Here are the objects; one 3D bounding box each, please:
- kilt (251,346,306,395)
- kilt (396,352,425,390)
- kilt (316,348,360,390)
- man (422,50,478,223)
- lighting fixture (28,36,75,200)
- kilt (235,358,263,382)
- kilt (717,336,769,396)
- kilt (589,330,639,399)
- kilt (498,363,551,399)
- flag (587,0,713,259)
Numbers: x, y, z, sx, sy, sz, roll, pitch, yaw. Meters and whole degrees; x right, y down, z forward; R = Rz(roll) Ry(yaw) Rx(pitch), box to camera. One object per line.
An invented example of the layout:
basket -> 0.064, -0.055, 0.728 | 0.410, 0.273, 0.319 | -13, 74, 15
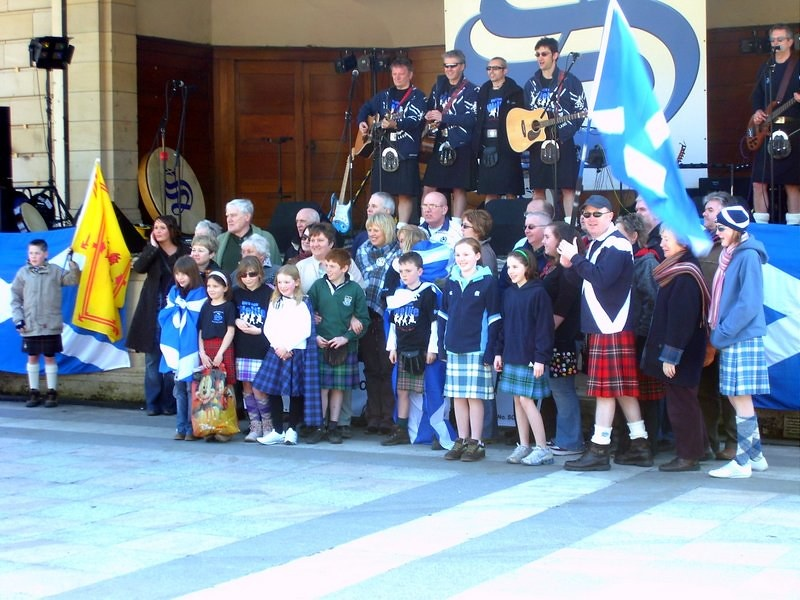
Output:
kilt -> -0.976, 0.517, 8.362 | 0.341, 0.549, 0.554 | 7, -7, 6
kilt -> 0.093, 0.590, 8.096 | 0.240, 0.305, 0.134 | 6, 12, 28
kilt -> -0.519, 0.587, 8.452 | 0.331, 0.349, 0.369 | 1, 0, 40
man -> 0.505, -1.650, 10.476 | 0.725, 2.005, 0.600 | 5, 17, 15
lighting fixture -> -4.513, -2.662, 12.994 | 0.533, 1.556, 0.608 | 1, 10, 19
kilt -> -1.281, 0.578, 8.330 | 0.311, 0.229, 0.177 | -1, -8, 27
kilt -> 2.405, 0.458, 6.944 | 0.218, 0.396, 0.298 | 16, -30, -27
kilt -> 1.544, 0.468, 7.151 | 0.480, 0.634, 0.348 | 0, -5, 15
kilt -> 0.936, 0.576, 7.443 | 0.434, 0.284, 0.257 | 9, 13, 20
flag -> 1.460, -1.050, 5.843 | 0.508, 1.554, 0.856 | -3, 6, -18
